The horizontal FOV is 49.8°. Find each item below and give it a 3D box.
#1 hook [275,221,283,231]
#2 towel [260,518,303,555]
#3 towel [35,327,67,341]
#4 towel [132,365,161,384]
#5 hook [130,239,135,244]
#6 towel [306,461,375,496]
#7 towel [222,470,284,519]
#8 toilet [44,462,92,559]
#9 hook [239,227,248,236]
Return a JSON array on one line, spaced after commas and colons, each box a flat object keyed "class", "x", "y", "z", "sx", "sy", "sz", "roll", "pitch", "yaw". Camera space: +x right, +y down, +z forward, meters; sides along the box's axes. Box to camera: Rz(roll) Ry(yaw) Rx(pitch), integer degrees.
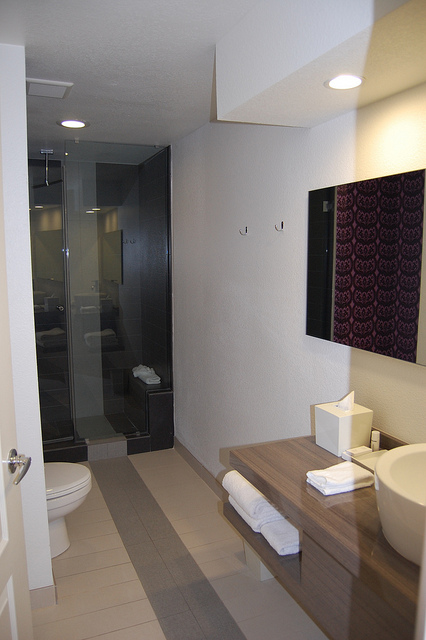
[{"class": "hook", "x": 0.290, "y": -0.411, "z": 2.019, "sx": 0.025, "sy": 0.038, "sz": 0.065, "roll": -1, "pitch": 5, "yaw": -2}, {"class": "towel", "x": 0.233, "y": 0.711, "z": 1.536, "sx": 0.112, "sy": 0.069, "sz": 0.168, "roll": -2, "pitch": 5, "yaw": -11}, {"class": "towel", "x": -1.335, "y": 0.124, "z": 3.801, "sx": 0.134, "sy": 0.052, "sz": 0.140, "roll": -9, "pitch": 11, "yaw": -36}, {"class": "towel", "x": -0.511, "y": 0.427, "z": 3.760, "sx": 0.139, "sy": 0.053, "sz": 0.167, "roll": 0, "pitch": 9, "yaw": -29}, {"class": "hook", "x": -0.641, "y": -0.615, "z": 3.645, "sx": 0.007, "sy": 0.025, "sz": 0.038, "roll": 4, "pitch": 7, "yaw": 43}, {"class": "towel", "x": 0.370, "y": 0.458, "z": 1.344, "sx": 0.176, "sy": 0.045, "sz": 0.132, "roll": -3, "pitch": 6, "yaw": -23}, {"class": "towel", "x": 0.138, "y": 0.661, "z": 1.715, "sx": 0.176, "sy": 0.056, "sz": 0.179, "roll": 0, "pitch": 5, "yaw": -31}, {"class": "toilet", "x": -0.766, "y": 1.003, "z": 2.449, "sx": 0.226, "sy": 0.380, "sz": 0.438, "roll": -3, "pitch": 5, "yaw": -22}, {"class": "hook", "x": 0.160, "y": -0.460, "z": 2.386, "sx": 0.048, "sy": 0.052, "sz": 0.017, "roll": 2, "pitch": 7, "yaw": 9}]
